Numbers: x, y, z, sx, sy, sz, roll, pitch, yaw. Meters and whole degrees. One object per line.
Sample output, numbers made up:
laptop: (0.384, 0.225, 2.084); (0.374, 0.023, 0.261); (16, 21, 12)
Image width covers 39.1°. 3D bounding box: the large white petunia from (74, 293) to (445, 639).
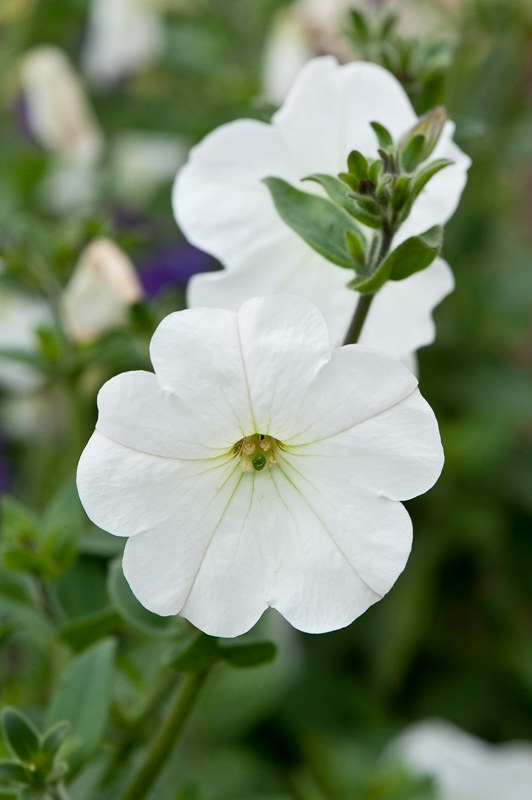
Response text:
large white petunia: (-0.003, 0.032, 0.299); (0.128, 0.071, 0.127); (35, 84, 6)
